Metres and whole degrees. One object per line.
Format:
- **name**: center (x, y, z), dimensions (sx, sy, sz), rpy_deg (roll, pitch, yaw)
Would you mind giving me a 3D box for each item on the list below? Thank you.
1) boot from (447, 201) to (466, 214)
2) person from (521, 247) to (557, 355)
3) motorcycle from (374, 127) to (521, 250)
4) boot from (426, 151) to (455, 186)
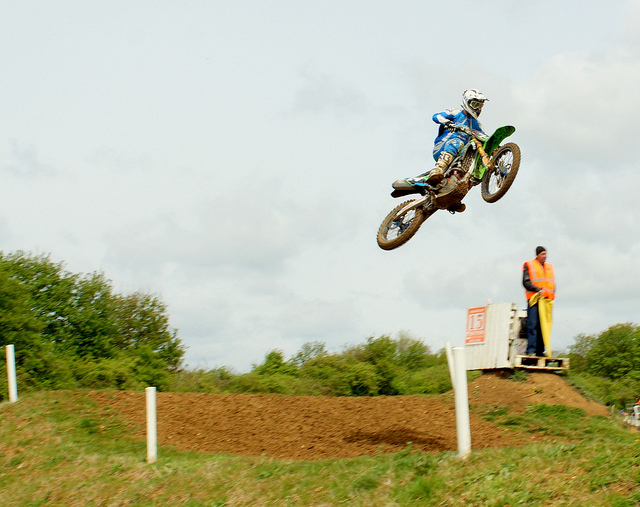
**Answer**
- **boot**: center (2.975, -0.985, 14.284), dimensions (0.357, 0.225, 0.564), rpy_deg (-3, -2, 6)
- **person**: center (4.988, 1.111, 14.889), dimensions (0.669, 2.430, 0.529), rpy_deg (-4, -4, 14)
- **motorcycle**: center (2.797, -1.593, 13.206), dimensions (2.547, 1.453, 1.043), rpy_deg (-35, -53, 1)
- **boot**: center (2.583, -1.840, 14.009), dimensions (0.672, 0.721, 0.316), rpy_deg (-3, -3, -4)
